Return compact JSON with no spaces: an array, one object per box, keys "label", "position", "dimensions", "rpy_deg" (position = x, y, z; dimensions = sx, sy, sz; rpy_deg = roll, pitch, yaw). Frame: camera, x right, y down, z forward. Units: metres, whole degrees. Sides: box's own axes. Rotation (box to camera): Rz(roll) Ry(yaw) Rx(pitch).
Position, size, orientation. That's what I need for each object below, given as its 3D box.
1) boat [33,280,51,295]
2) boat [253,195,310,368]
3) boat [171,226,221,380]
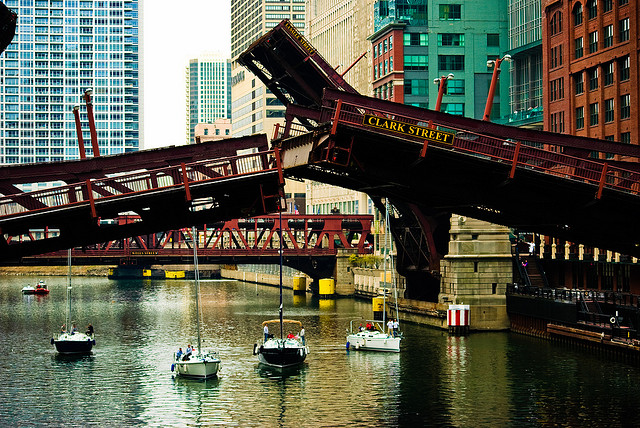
[{"label":"boat","position":[-35.667,9.183,172.939],"dimensions":[1.901,1.280,2.715],"rpy_deg":[0,0,-12]},{"label":"boat","position":[-3.729,9.210,123.115],"dimensions":[4.234,5.590,22.278],"rpy_deg":[-1,7,-2]},{"label":"boat","position":[-10.672,7.580,113.257],"dimensions":[3.827,11.915,9.316],"rpy_deg":[1,-2,-16]}]
